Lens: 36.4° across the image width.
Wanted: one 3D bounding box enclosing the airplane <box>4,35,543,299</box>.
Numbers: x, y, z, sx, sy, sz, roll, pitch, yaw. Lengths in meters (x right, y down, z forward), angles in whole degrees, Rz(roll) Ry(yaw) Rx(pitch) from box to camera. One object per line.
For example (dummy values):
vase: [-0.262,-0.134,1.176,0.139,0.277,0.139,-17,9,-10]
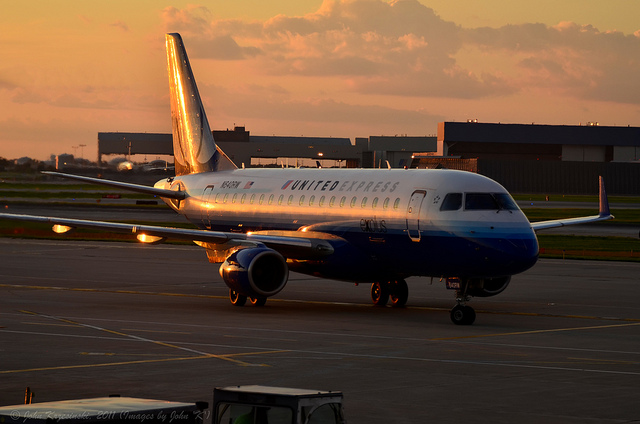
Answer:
airplane: [-4.244,-2.803,39.405,14.070,11.006,20.406,-2,3,-30]
